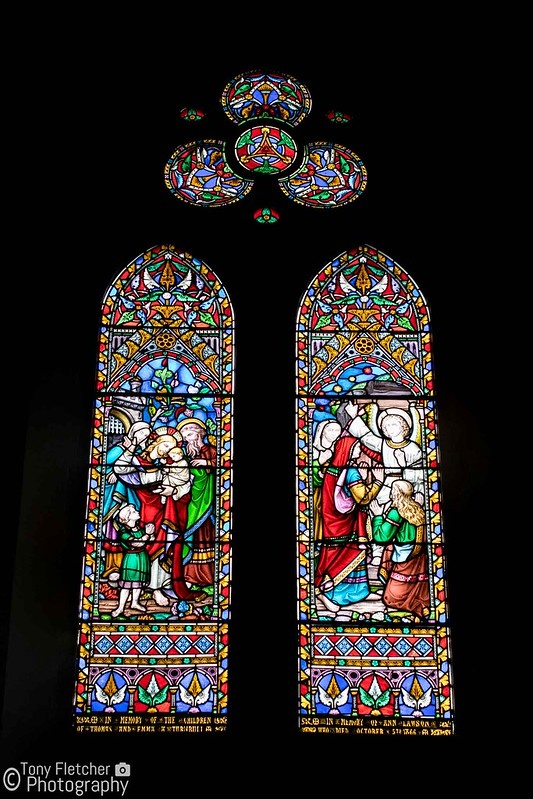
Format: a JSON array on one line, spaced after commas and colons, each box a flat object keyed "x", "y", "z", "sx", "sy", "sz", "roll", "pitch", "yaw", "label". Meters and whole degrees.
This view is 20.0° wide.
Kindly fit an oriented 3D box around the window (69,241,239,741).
[{"x": -0.575, "y": 0.383, "z": 8.352, "sx": 0.809, "sy": 3.008, "sz": 0.415, "roll": 5, "pitch": -26, "yaw": -6, "label": "window"}]
